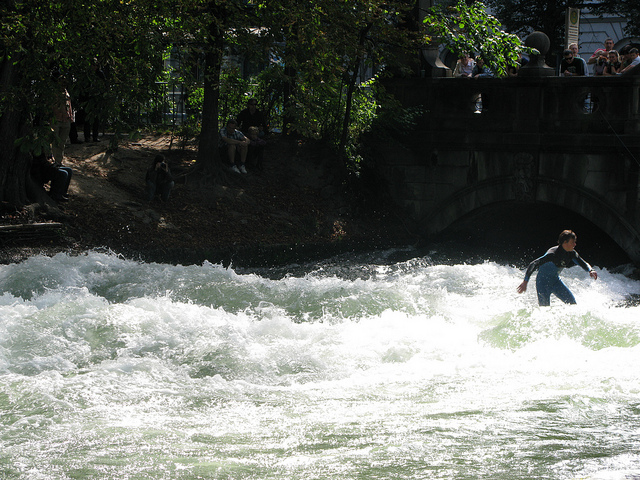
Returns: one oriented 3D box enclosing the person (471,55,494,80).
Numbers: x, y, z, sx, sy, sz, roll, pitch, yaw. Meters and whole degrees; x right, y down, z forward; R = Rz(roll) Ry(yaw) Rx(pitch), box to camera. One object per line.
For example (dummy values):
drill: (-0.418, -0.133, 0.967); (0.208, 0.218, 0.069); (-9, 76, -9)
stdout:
person: (4.322, -4.544, 28.225); (0.589, 0.582, 1.028); (2, 2, 9)

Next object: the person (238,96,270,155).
person: (-1.884, -3.224, 29.875); (0.884, 1.555, 0.941); (2, 14, 9)

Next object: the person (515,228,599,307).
person: (4.557, 0.827, 20.751); (1.449, 2.325, 0.931); (-6, 32, 4)

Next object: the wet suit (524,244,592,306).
wet suit: (4.564, 0.688, 20.563); (1.133, 1.220, 0.742); (2, 2, 9)

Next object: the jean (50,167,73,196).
jean: (-6.152, -1.366, 24.870); (0.510, 0.667, 0.364); (1, 2, -28)

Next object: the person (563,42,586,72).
person: (6.475, -4.700, 27.082); (0.548, 0.793, 0.907); (3, 3, 40)

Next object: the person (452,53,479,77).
person: (4.030, -4.842, 29.557); (0.595, 0.906, 0.622); (-3, 30, 4)

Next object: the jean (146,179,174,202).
jean: (-4.129, -1.212, 27.081); (0.652, 0.668, 0.499); (3, -20, -10)

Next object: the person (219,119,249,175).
person: (-2.410, -2.531, 29.145); (0.828, 1.453, 0.596); (1, 2, -15)
